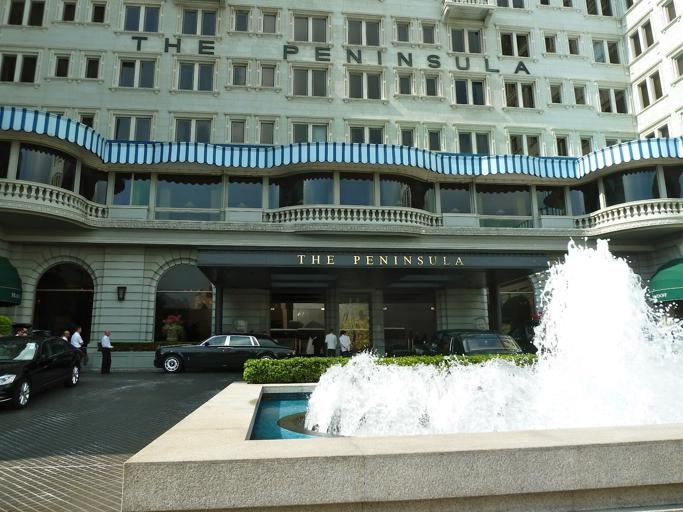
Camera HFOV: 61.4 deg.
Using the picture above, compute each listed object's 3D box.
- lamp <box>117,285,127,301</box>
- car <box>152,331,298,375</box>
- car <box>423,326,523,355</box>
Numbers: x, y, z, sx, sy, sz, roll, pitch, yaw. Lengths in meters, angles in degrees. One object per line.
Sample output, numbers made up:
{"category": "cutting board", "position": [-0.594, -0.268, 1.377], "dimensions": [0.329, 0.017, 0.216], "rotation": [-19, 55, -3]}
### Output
{"category": "lamp", "position": [-10.373, 1.744, 27.030], "dimensions": [0.420, 0.688, 0.245], "rotation": [1, -9, -19]}
{"category": "car", "position": [-4.835, 4.152, 24.639], "dimensions": [5.927, 1.324, 2.006], "rotation": [2, -15, -4]}
{"category": "car", "position": [4.721, 3.140, 21.034], "dimensions": [2.297, 0.894, 3.943], "rotation": [0, -6, -17]}
